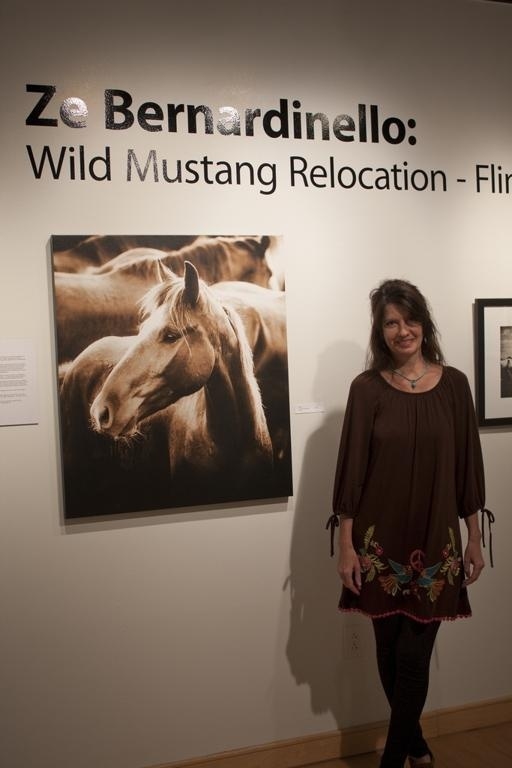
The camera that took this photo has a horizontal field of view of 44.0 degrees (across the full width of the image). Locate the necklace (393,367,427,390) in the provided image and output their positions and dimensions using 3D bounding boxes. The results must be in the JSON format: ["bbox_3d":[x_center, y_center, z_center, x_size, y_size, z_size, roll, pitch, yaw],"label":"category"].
[{"bbox_3d":[0.484,-0.015,1.999,0.084,0.064,0.012,-2,-17,3],"label":"necklace"}]
